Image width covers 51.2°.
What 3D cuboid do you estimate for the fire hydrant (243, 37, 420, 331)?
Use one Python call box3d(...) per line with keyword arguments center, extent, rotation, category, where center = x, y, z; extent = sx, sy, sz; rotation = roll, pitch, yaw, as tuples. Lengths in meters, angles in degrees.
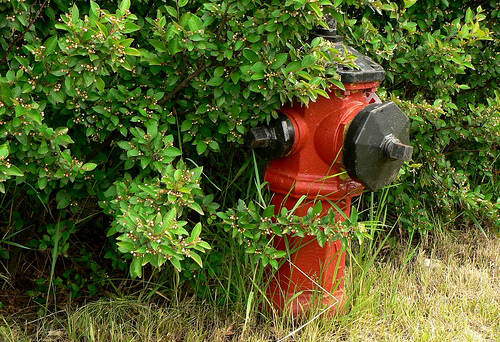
box3d(center=(0.412, 0.094, 3.030), extent=(0.942, 1.716, 0.650), rotation=(3, 4, -3), category="fire hydrant")
